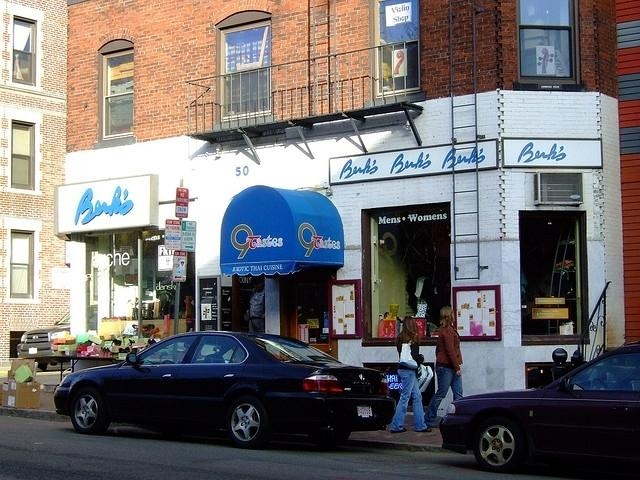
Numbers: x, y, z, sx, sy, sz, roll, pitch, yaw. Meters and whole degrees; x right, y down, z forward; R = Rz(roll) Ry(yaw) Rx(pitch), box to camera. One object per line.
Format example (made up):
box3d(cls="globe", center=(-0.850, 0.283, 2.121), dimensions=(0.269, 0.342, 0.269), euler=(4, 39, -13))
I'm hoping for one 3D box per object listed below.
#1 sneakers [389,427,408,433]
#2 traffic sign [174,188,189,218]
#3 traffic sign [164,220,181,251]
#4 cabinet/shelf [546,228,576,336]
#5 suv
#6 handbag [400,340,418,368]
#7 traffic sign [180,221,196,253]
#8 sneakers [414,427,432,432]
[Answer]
box3d(cls="sneakers", center=(1.467, 3.572, 17.154), dimensions=(0.323, 0.146, 0.110), euler=(-3, 1, -7))
box3d(cls="traffic sign", center=(-2.854, -0.763, 18.982), dimensions=(0.254, 0.643, 0.441), euler=(-1, -6, -13))
box3d(cls="traffic sign", center=(-2.948, -0.080, 18.593), dimensions=(0.139, 0.626, 0.473), euler=(-6, -7, 28))
box3d(cls="cabinet/shelf", center=(5.204, 0.926, 19.356), dimensions=(0.568, 2.584, 0.439), euler=(4, 9, 28))
box3d(cls="suv", center=(-8.511, 3.481, 31.507), dimensions=(1.919, 1.880, 3.796), euler=(-6, -13, 22))
box3d(cls="handbag", center=(1.665, 2.166, 17.223), dimensions=(0.376, 0.479, 0.170), euler=(15, -27, -20))
box3d(cls="traffic sign", center=(-2.847, -0.029, 18.916), dimensions=(0.588, 0.110, 1.089), euler=(1, 33, -9))
box3d(cls="sneakers", center=(1.925, 3.552, 17.122), dimensions=(0.315, 0.136, 0.107), euler=(-1, -1, -8))
